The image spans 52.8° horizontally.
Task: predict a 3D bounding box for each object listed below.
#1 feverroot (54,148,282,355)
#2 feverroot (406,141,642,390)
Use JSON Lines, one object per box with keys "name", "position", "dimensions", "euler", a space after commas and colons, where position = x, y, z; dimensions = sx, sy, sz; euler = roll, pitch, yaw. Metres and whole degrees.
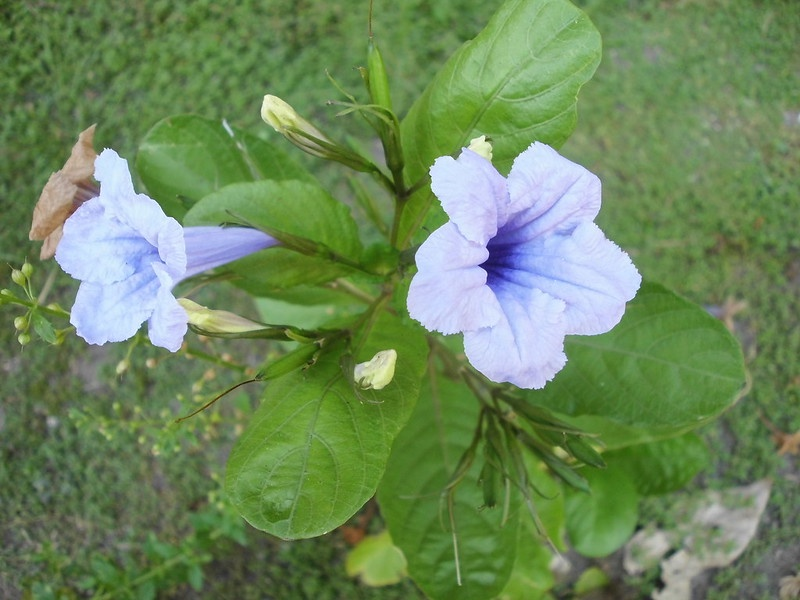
{"name": "feverroot", "position": [-0.611, -0.077, 2.093], "dimensions": [0.413, 0.587, 0.458], "euler": [-5, 25, -11]}
{"name": "feverroot", "position": [0.284, -0.113, 2.019], "dimensions": [0.535, 0.236, 0.649], "euler": [17, 86, -4]}
